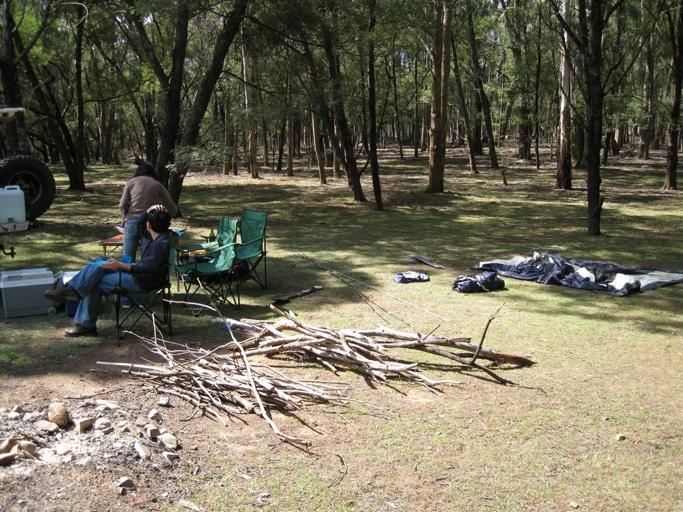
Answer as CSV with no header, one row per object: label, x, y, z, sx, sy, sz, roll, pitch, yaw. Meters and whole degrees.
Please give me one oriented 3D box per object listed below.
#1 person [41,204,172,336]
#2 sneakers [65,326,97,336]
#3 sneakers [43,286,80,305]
person,-2.629,0.174,6.551,1.335,1.487,0.446,-4,11,-20
sneakers,-3.017,0.872,6.617,0.396,0.119,0.118,3,1,-10
sneakers,-3.161,0.443,6.567,0.561,0.132,0.204,-1,3,-14
